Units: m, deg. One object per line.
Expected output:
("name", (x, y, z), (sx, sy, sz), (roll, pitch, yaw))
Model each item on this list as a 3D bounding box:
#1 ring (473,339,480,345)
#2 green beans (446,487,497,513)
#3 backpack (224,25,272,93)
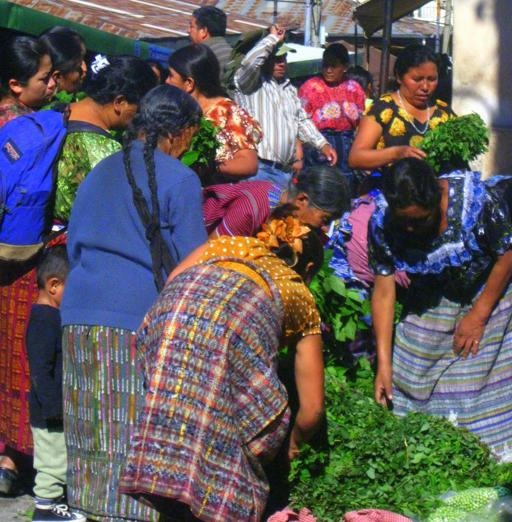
("ring", (1.128, 0.408, 5.170), (0.026, 0.017, 0.010), (-4, 11, -11))
("green beans", (0.936, 1.027, 4.374), (0.219, 0.069, 0.145), (4, 16, 8))
("backpack", (-0.096, -1.269, 6.330), (0.147, 0.389, 0.306), (35, 12, -13))
